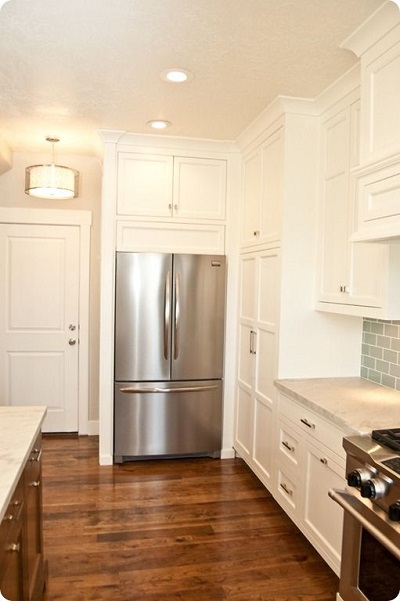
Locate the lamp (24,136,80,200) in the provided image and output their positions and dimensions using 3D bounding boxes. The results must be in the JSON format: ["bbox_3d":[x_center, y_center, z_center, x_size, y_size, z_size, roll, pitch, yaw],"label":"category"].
[{"bbox_3d":[-1.102,-1.019,3.323,0.276,0.338,0.281,-4,16,-29],"label":"lamp"}]

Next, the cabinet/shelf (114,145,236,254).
[{"bbox_3d":[-0.217,-0.763,3.524,0.857,0.820,0.315,1,22,-6],"label":"cabinet/shelf"}]

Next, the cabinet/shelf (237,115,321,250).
[{"bbox_3d":[0.481,-0.684,2.961,0.210,0.763,0.773,-1,5,-13],"label":"cabinet/shelf"}]
